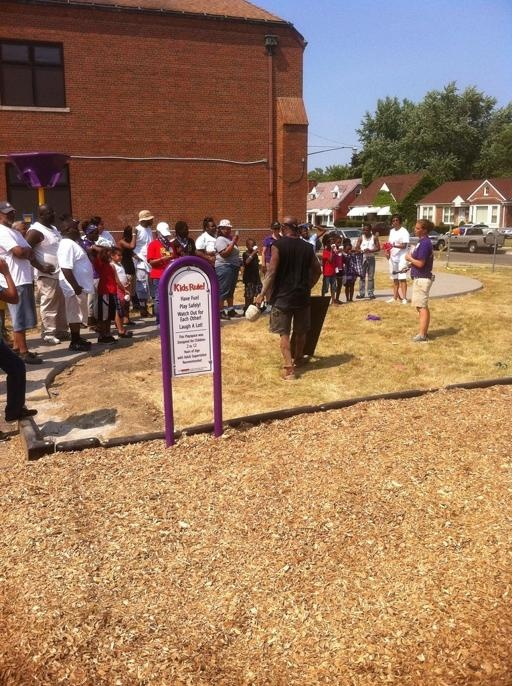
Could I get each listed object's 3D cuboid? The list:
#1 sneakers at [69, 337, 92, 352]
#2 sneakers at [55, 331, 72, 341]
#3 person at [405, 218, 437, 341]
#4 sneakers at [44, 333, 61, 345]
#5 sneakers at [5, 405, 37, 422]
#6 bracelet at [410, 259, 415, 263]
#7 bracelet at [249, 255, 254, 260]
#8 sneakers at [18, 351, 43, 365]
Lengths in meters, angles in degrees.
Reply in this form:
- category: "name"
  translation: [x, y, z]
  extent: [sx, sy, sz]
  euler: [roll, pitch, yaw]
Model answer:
- category: "sneakers"
  translation: [-2.276, 0.008, 8.235]
  extent: [0.223, 0.153, 0.253]
  euler: [0, 10, -5]
- category: "sneakers"
  translation: [-2.726, -0.108, 8.978]
  extent: [0.274, 0.175, 0.088]
  euler: [-6, 18, -22]
- category: "person"
  translation: [2.409, -0.942, 9.334]
  extent: [0.372, 1.772, 1.554]
  euler: [2, 14, 14]
- category: "sneakers"
  translation: [-2.812, -0.065, 8.770]
  extent: [0.295, 0.117, 0.115]
  euler: [9, 19, 27]
- category: "sneakers"
  translation: [-1.960, 0.583, 5.388]
  extent: [0.310, 0.120, 0.102]
  euler: [-9, 20, -40]
- category: "bracelet"
  translation: [2.151, -1.126, 8.684]
  extent: [0.011, 0.042, 0.041]
  euler: [-1, 37, -45]
- category: "bracelet"
  translation: [-0.072, -1.500, 10.966]
  extent: [0.068, 0.066, 0.064]
  euler: [-2, 8, -8]
- category: "sneakers"
  translation: [-2.634, 0.172, 7.415]
  extent: [0.376, 0.139, 0.124]
  euler: [6, 13, 18]
